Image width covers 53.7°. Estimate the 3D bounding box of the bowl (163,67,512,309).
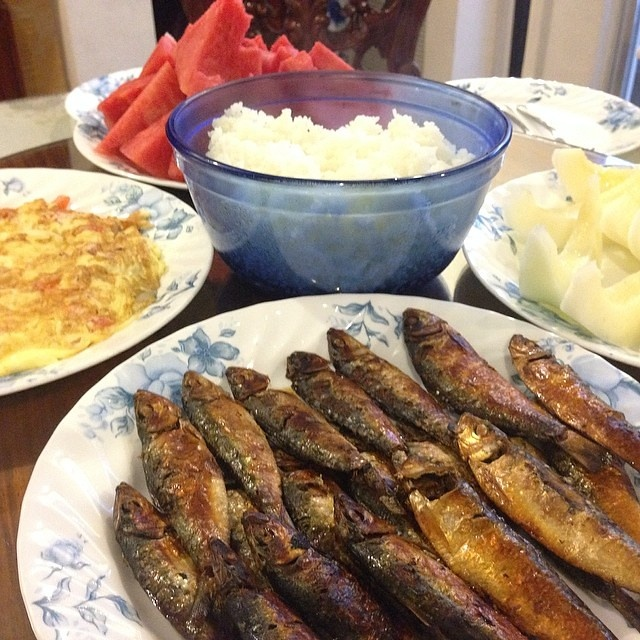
[{"bbox_3d":[0.021,-0.202,0.961,0.480,0.270,0.409,-6,28,-11],"label":"bowl"}]
